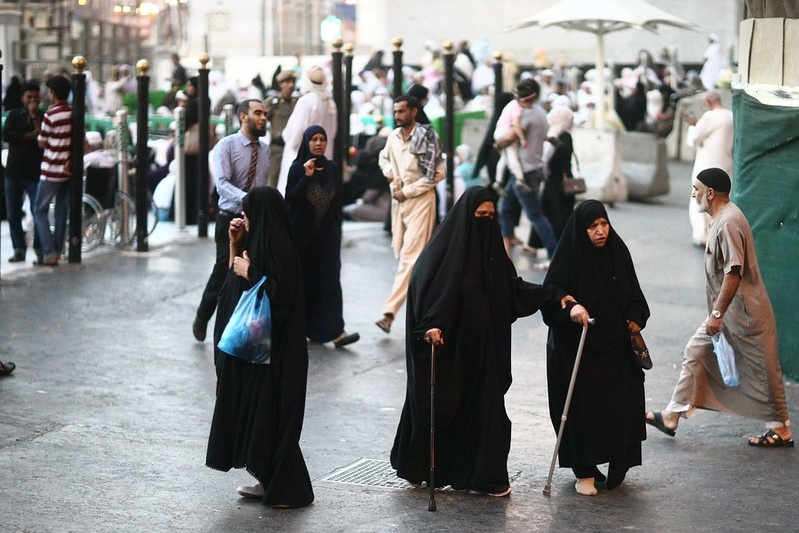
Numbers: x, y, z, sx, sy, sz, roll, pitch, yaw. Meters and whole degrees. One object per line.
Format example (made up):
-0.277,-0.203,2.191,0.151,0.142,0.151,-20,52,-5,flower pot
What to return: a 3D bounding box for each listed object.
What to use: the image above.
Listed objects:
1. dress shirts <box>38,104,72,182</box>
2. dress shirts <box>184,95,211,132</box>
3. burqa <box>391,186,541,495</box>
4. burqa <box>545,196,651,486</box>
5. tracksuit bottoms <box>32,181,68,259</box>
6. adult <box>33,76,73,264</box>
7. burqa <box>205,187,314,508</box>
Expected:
-4.413,-1.576,15.348,0.339,1.075,0.491,2,-5,-32,dress shirts
-2.977,-2.247,17.641,0.276,0.374,0.525,8,42,-7,dress shirts
0.495,0.610,9.876,1.120,2.492,0.623,1,9,6,burqa
1.644,0.659,9.993,0.815,2.397,0.592,1,9,10,burqa
-4.460,-0.695,15.420,0.384,1.356,0.366,1,6,-42,tracksuit bottoms
-4.430,-1.221,15.438,0.584,2.454,0.538,5,3,38,adult
-1.137,0.649,9.655,0.791,2.538,0.653,-2,9,-7,burqa
